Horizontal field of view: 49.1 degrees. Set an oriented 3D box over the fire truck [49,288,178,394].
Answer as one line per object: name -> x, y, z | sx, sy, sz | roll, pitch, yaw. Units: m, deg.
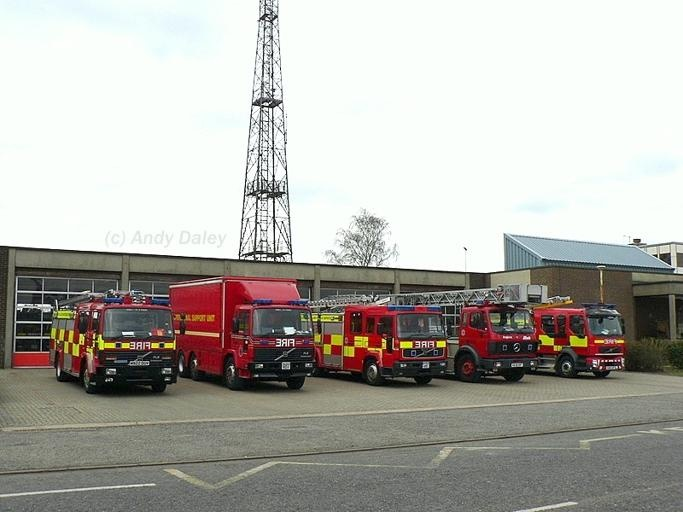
fire truck -> -7.911, 2.687, 24.696 | 2.521, 3.406, 7.096 | 4, -7, -34
